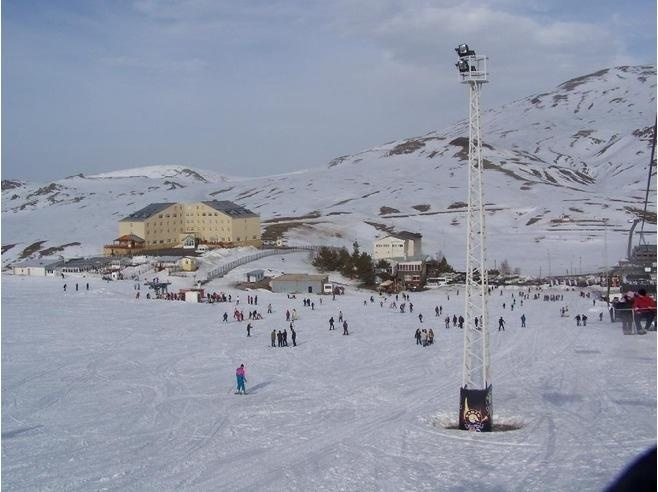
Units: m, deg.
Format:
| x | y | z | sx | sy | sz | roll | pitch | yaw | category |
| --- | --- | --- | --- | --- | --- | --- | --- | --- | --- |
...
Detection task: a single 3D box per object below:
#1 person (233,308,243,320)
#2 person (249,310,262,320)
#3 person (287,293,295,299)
| x | y | z | sx | sy | sz | roll | pitch | yaw | category |
| --- | --- | --- | --- | --- | --- | --- | --- | --- | --- |
| -8.480 | 6.377 | 85.765 | 0.856 | 0.999 | 2.008 | -2 | 12 | -4 | person |
| -6.952 | 6.372 | 86.053 | 1.032 | 0.523 | 0.890 | -3 | 6 | -23 | person |
| -4.266 | 5.549 | 103.369 | 0.774 | 0.437 | 0.405 | -1 | -3 | 22 | person |
